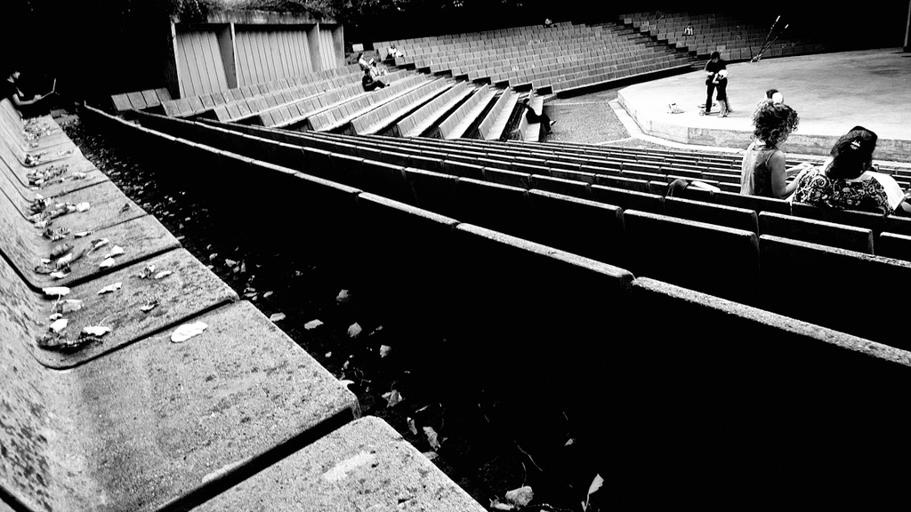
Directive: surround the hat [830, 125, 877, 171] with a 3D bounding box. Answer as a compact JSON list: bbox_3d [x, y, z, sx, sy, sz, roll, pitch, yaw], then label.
[{"bbox_3d":[2.975,-0.797,4.090,0.266,0.357,0.113,25,38,25],"label":"hat"}]
